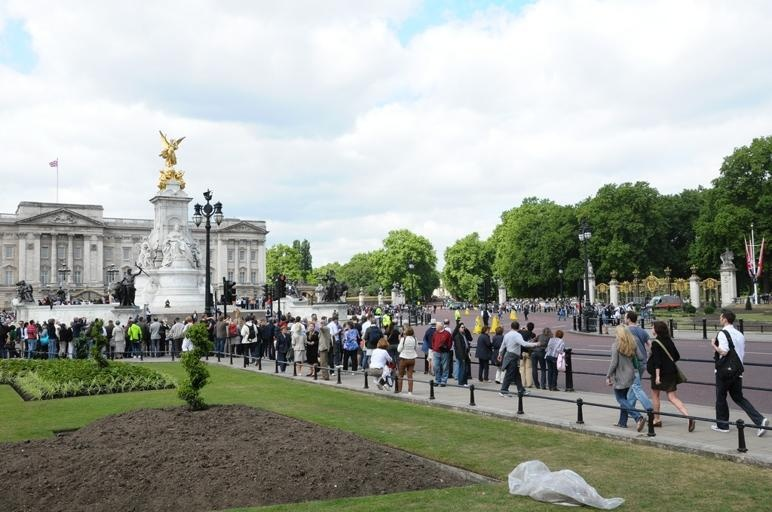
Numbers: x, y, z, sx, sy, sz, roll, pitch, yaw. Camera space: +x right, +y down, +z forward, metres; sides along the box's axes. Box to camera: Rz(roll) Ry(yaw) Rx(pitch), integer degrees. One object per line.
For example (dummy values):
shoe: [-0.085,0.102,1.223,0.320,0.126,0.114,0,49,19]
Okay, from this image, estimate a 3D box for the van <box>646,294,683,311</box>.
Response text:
van: [22.107,3.744,77.859,3.719,1.310,1.789,0,-3,-5]
